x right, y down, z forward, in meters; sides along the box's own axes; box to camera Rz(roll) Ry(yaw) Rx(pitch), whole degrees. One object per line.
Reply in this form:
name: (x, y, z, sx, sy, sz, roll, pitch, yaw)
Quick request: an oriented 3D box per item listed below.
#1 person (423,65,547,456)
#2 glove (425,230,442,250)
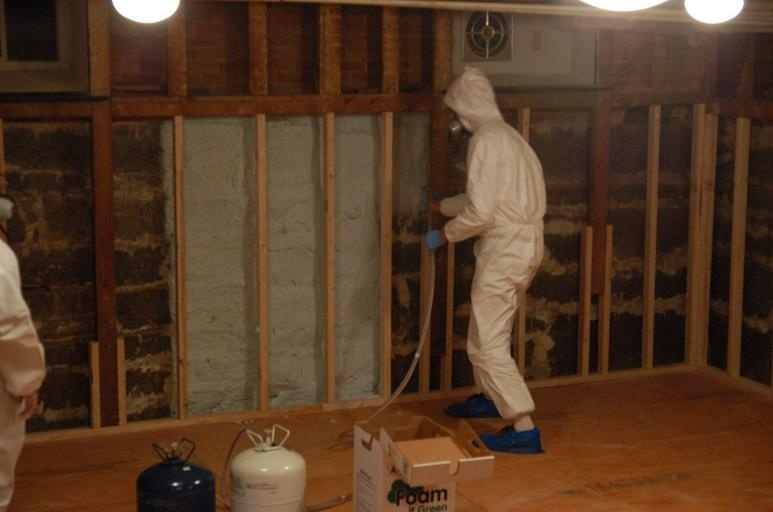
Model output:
person: (0.718, 0.020, 5.200, 0.684, 2.503, 0.874, 1, -24, -21)
glove: (0.327, -0.105, 5.397, 0.134, 0.105, 0.112, 7, 12, 31)
